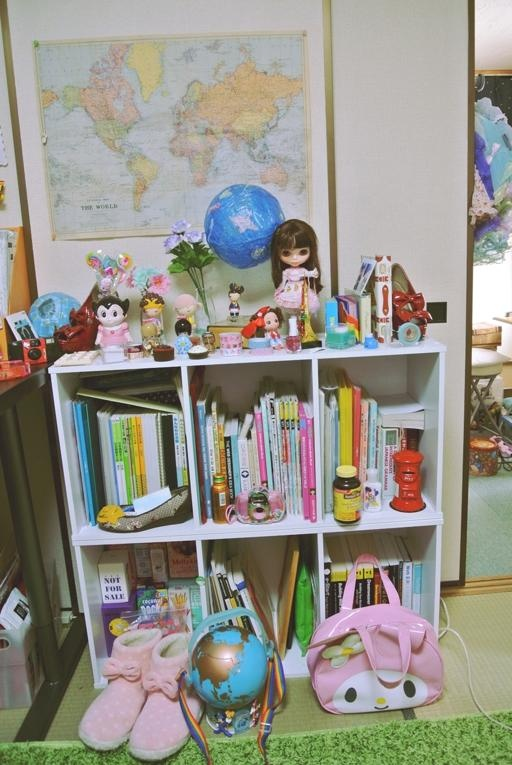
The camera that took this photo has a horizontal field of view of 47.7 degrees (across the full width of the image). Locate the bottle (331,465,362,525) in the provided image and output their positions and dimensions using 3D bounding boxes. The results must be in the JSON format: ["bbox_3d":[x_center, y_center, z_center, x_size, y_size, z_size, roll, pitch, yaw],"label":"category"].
[{"bbox_3d":[0.227,0.276,1.446,0.073,0.149,0.103,-2,10,9],"label":"bottle"}]

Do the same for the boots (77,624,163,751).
[{"bbox_3d":[-0.307,0.722,1.399,0.094,0.122,0.295,3,9,10],"label":"boots"}]

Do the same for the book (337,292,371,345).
[{"bbox_3d":[0.245,-0.160,1.452,0.056,0.118,0.164,-5,11,-10],"label":"book"}]

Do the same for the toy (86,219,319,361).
[{"bbox_3d":[-0.073,-0.252,1.498,0.473,0.305,0.212,-1,10,11],"label":"toy"}]

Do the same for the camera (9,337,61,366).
[{"bbox_3d":[-0.551,-0.075,1.452,0.127,0.059,0.038,-8,11,-21],"label":"camera"}]

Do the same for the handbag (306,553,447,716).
[{"bbox_3d":[0.261,0.580,1.399,0.337,0.356,0.242,-3,6,-1],"label":"handbag"}]

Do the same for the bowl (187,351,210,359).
[{"bbox_3d":[-0.135,-0.064,1.362,0.045,0.020,0.026,-6,11,-11],"label":"bowl"}]

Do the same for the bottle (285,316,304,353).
[{"bbox_3d":[0.093,-0.121,1.414,0.038,0.081,0.115,-3,11,4],"label":"bottle"}]

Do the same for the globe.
[{"bbox_3d":[-0.062,0.670,1.330,0.214,0.277,0.182,-2,13,-8],"label":"globe"}]

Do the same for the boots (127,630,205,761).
[{"bbox_3d":[-0.210,0.720,1.371,0.092,0.116,0.284,2,9,3],"label":"boots"}]

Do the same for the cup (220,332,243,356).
[{"bbox_3d":[-0.057,-0.090,1.363,0.047,0.049,0.049,-1,9,0],"label":"cup"}]

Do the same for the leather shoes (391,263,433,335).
[{"bbox_3d":[0.369,-0.199,1.420,0.077,0.211,0.073,-9,-7,-1],"label":"leather shoes"}]

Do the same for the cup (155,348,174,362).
[{"bbox_3d":[-0.214,-0.064,1.343,0.032,0.024,0.033,0,7,0],"label":"cup"}]

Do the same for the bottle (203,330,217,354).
[{"bbox_3d":[-0.112,-0.097,1.410,0.020,0.050,0.044,3,12,30],"label":"bottle"}]

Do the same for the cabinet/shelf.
[{"bbox_3d":[-0.020,0.344,1.476,0.799,0.752,0.273,-2,12,-3],"label":"cabinet/shelf"}]

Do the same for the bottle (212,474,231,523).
[{"bbox_3d":[-0.086,0.289,1.468,0.054,0.130,0.052,-3,10,1],"label":"bottle"}]
